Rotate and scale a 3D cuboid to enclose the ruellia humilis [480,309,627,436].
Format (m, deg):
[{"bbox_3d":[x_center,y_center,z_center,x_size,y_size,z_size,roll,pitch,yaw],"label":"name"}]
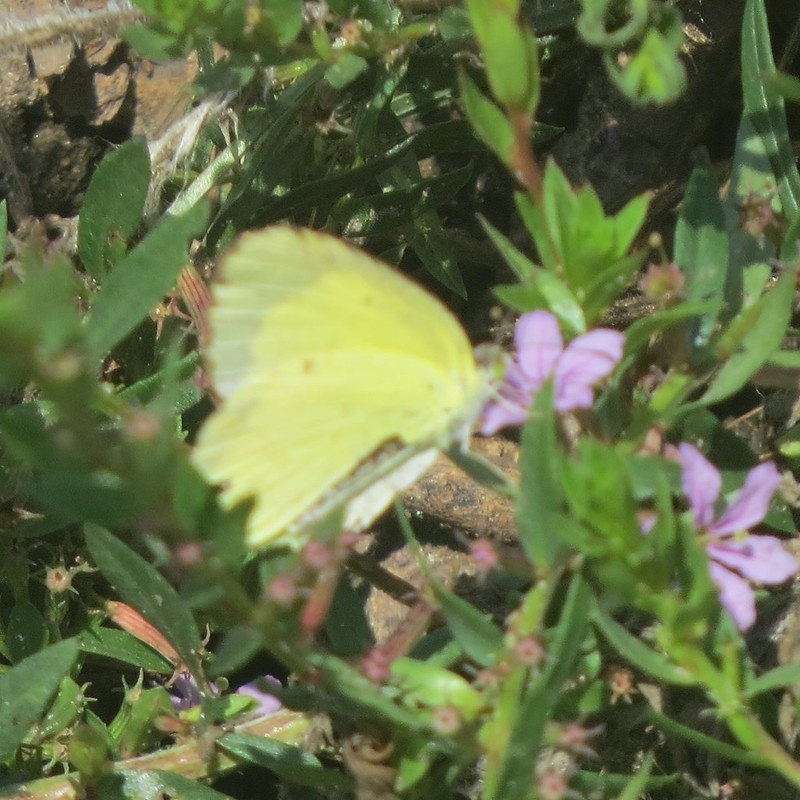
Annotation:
[{"bbox_3d":[0.201,-0.024,1.592,0.206,0.196,0.127,11,53,20],"label":"ruellia humilis"}]

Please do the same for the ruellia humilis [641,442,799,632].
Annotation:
[{"bbox_3d":[0.460,0.177,1.544,0.121,0.244,0.258,-23,9,31],"label":"ruellia humilis"}]
